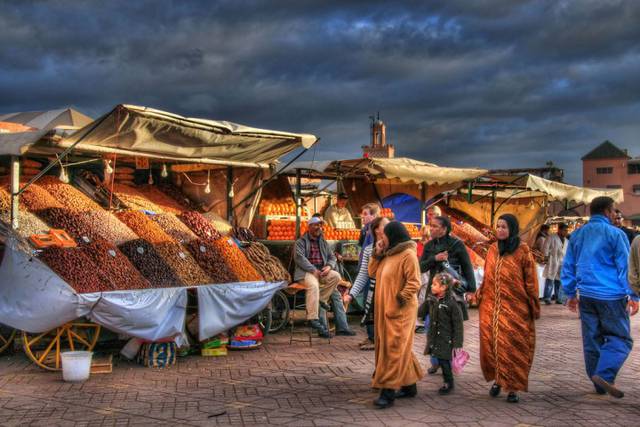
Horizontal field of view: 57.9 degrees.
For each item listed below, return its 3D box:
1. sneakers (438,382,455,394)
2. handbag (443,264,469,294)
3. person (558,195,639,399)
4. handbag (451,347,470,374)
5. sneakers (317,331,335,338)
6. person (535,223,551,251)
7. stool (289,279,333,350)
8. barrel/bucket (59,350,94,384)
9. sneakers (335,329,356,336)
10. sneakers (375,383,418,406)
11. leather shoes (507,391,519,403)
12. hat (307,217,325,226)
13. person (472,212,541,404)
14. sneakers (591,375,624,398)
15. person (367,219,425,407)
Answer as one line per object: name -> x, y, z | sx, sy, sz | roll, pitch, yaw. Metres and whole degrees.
sneakers -> 1.524, 2.114, 7.049 | 0.170, 0.113, 0.166 | 0, 1, 13
handbag -> 1.750, 0.820, 7.503 | 0.161, 0.380, 0.286 | -48, -1, 22
person -> 3.360, 0.943, 6.912 | 0.561, 2.262, 0.690 | 0, 1, -25
handbag -> 1.707, 1.749, 7.038 | 0.150, 0.250, 0.276 | 1, 1, 43
sneakers -> 0.106, 2.087, 10.067 | 0.274, 0.084, 0.109 | -1, -2, 15
person -> 6.064, 0.627, 15.851 | 0.242, 0.312, 0.721 | -5, -37, 2
stool -> -0.253, 1.768, 10.265 | 0.941, 0.990, 0.811 | 8, -3, -22
barrel/bucket -> -3.200, 2.013, 7.587 | 0.476, 0.291, 0.408 | 0, -21, -16
sneakers -> 0.444, 2.096, 10.288 | 0.425, 0.124, 0.121 | -1, 0, 3
sneakers -> 0.908, 2.092, 6.757 | 0.630, 0.215, 0.199 | 4, -10, -39
leather shoes -> 2.235, 2.116, 6.718 | 0.077, 0.064, 0.192 | 2, 1, 17
hat -> -0.093, 0.132, 10.324 | 0.181, 0.110, 0.223 | 7, -22, -32
person -> 2.221, 1.085, 6.837 | 0.658, 2.163, 0.339 | 1, 1, 14
sneakers -> 3.341, 2.017, 6.784 | 0.380, 0.127, 0.146 | 33, 40, 6
person -> 0.878, 1.133, 6.671 | 0.610, 2.100, 0.487 | 0, 1, 6
